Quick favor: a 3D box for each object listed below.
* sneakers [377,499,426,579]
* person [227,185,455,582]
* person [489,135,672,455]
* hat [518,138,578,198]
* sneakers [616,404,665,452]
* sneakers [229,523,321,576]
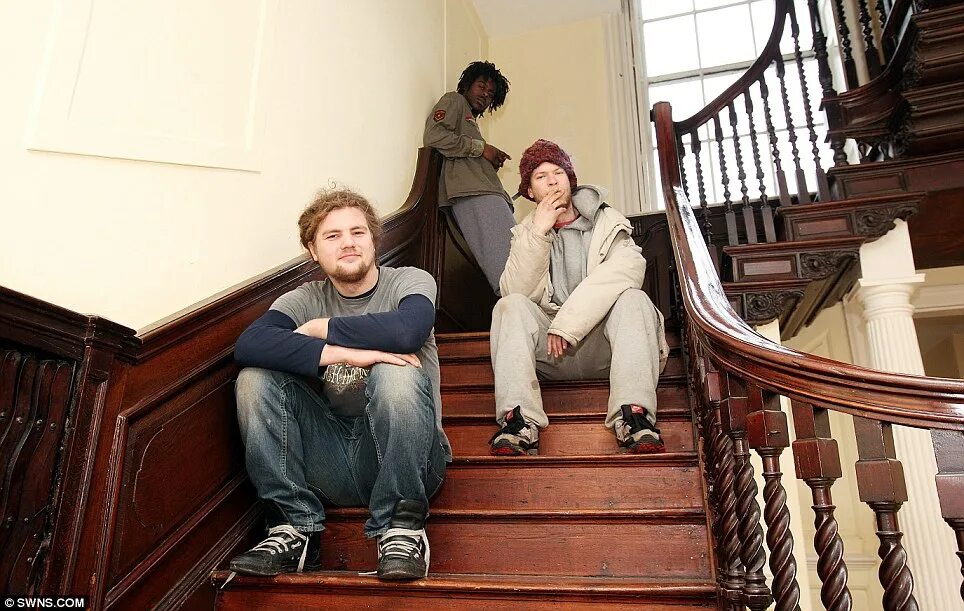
[{"bbox_3d":[-0.252,0.751,2.031,0.172,0.232,0.156,-2,-6,-10],"label":"sneakers"},{"bbox_3d":[-0.501,0.210,2.243,0.717,1.367,0.449,-3,-6,4],"label":"person"},{"bbox_3d":[0.394,-0.138,2.726,0.733,1.462,0.695,-4,-6,16],"label":"person"},{"bbox_3d":[0.282,-0.698,3.182,0.281,0.287,0.297,-4,-6,-19],"label":"hat"},{"bbox_3d":[0.619,0.481,2.469,0.149,0.177,0.369,-3,-4,2],"label":"sneakers"},{"bbox_3d":[-0.669,0.821,2.112,0.141,0.160,0.364,-10,-22,27],"label":"sneakers"}]
